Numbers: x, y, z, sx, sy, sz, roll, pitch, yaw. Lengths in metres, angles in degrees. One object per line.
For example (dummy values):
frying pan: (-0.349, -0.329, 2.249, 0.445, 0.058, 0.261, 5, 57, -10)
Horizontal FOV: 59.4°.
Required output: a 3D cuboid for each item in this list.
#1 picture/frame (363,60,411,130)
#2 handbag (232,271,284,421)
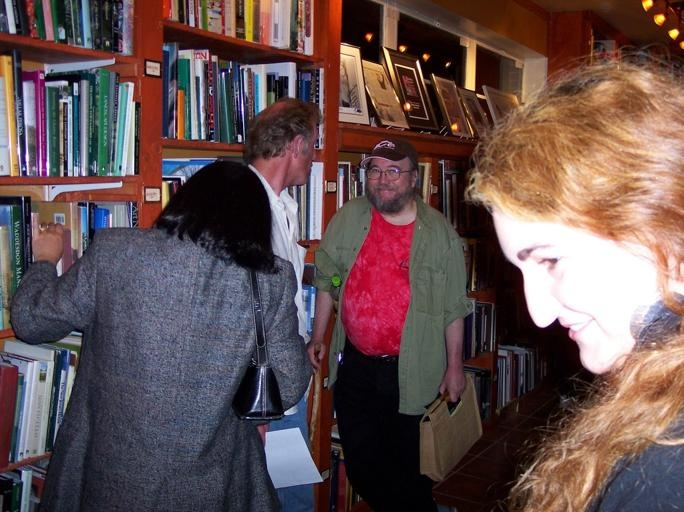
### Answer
picture/frame: (0.267, -0.977, 3.642, 0.052, 0.541, 0.463, -21, 6, 25)
handbag: (-0.265, 0.275, 1.875, 0.156, 0.454, 0.353, -5, 20, -15)
